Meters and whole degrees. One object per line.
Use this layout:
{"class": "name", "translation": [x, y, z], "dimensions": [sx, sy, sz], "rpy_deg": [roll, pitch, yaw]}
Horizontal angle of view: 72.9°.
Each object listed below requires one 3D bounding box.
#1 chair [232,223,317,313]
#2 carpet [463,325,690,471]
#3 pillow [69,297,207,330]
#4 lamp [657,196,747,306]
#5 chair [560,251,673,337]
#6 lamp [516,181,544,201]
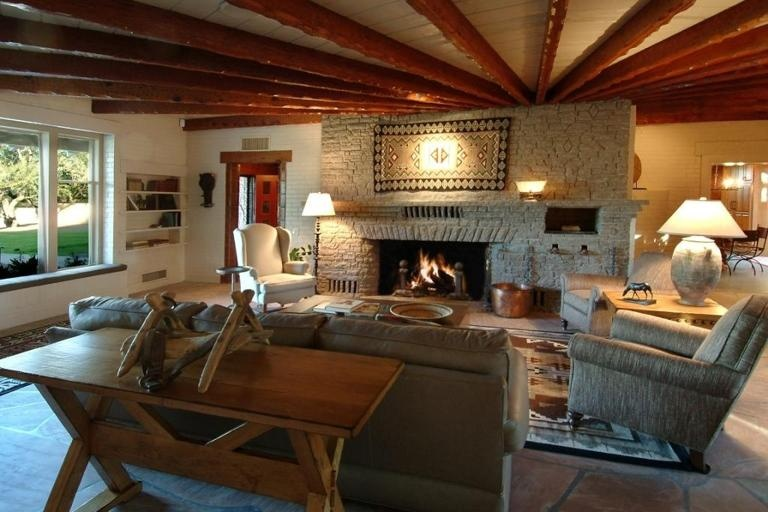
{"class": "chair", "translation": [-1.598, 0.145, 7.371], "dimensions": [1.060, 0.973, 1.030], "rpy_deg": [-5, 27, -42]}
{"class": "carpet", "translation": [1.784, 1.193, 4.579], "dimensions": [1.161, 0.672, 1.127], "rpy_deg": [-4, 6, -43]}
{"class": "pillow", "translation": [-1.860, 0.417, 3.736], "dimensions": [0.775, 0.157, 0.419], "rpy_deg": [4, 3, 35]}
{"class": "lamp", "translation": [3.031, -0.043, 4.989], "dimensions": [0.421, 1.010, 0.524], "rpy_deg": [-6, 11, -27]}
{"class": "chair", "translation": [3.041, 0.434, 6.293], "dimensions": [1.407, 0.917, 0.989], "rpy_deg": [4, -4, -3]}
{"class": "lamp", "translation": [2.088, -0.930, 7.360], "dimensions": [0.409, 0.297, 0.231], "rpy_deg": [1, 9, 9]}
